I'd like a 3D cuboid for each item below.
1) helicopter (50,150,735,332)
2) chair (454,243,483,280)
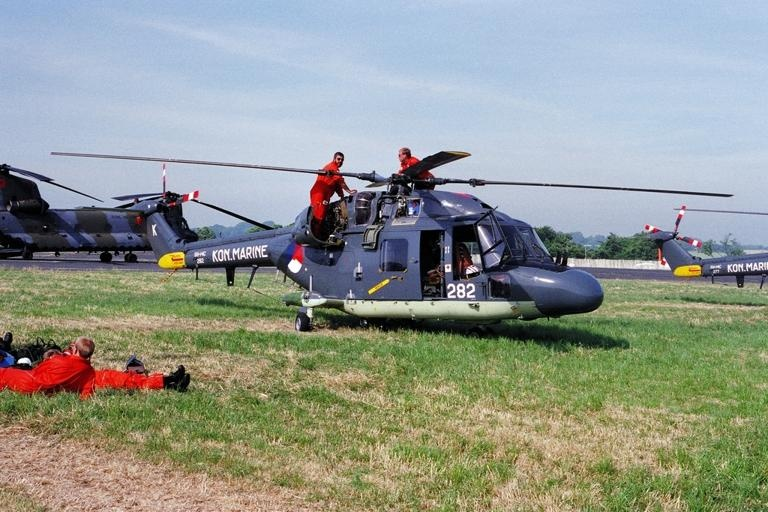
[{"bbox_3d":[-0.470,-0.236,24.045,13.187,3.841,1.706,9,14,31],"label":"helicopter"},{"bbox_3d":[2.196,0.136,22.400,0.412,0.911,0.854,-3,13,-24],"label":"chair"}]
